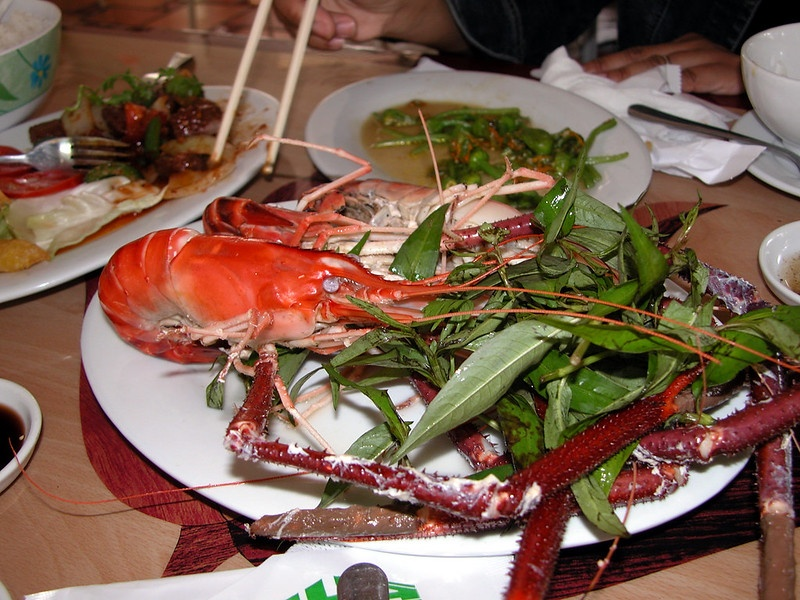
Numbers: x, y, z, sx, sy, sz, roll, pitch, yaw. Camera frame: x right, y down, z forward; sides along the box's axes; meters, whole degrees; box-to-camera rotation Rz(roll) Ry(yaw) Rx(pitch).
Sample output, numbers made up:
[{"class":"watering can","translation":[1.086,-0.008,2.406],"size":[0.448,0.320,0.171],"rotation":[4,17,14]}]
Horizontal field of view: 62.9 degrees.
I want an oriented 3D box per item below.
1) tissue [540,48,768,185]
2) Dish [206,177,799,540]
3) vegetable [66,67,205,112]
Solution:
[{"class":"tissue","translation":[0.837,-0.620,2.287],"size":[0.756,0.175,0.426],"rotation":[27,55,30]},{"class":"Dish","translation":[0.095,0.200,1.562],"size":[1.248,0.284,0.817],"rotation":[19,40,27]},{"class":"vegetable","translation":[-0.937,-0.791,2.438],"size":[0.486,0.118,0.256],"rotation":[-11,38,-28]}]
